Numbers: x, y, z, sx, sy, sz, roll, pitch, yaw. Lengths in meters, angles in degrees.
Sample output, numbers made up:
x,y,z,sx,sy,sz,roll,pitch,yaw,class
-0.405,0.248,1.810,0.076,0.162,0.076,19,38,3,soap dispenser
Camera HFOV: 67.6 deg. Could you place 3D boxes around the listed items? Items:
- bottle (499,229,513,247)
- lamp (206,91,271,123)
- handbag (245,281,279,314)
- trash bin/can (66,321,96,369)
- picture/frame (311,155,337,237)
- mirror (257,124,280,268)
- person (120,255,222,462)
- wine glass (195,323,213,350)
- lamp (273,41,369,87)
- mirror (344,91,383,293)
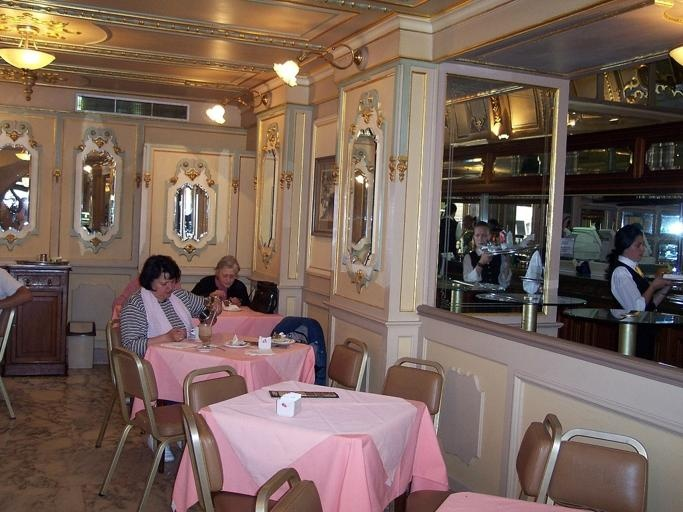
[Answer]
x,y,z,sx,sy,sz,roll,pitch,yaw,class
1.384,-0.149,4.288,0.126,0.136,0.111,-6,9,-36,bottle
-1.441,-2.039,7.018,0.760,0.415,1.453,1,4,-15,lamp
-0.899,0.475,5.808,0.321,0.309,0.140,11,6,41,handbag
-3.547,1.224,6.944,0.330,0.581,0.343,0,4,-28,trash bin/can
-0.186,-0.653,5.634,0.048,1.048,0.883,1,3,-19,picture/frame
-0.929,-0.764,6.422,0.134,1.786,0.608,1,4,-21,mirror
-1.583,0.813,4.646,0.852,1.554,0.763,-3,15,-41,person
-1.096,0.650,4.166,0.160,0.189,0.161,-3,7,-34,wine glass
-0.175,-1.841,5.117,0.857,0.461,1.131,2,4,2,lamp
0.194,-0.571,4.586,0.090,1.787,0.589,1,4,-25,mirror
